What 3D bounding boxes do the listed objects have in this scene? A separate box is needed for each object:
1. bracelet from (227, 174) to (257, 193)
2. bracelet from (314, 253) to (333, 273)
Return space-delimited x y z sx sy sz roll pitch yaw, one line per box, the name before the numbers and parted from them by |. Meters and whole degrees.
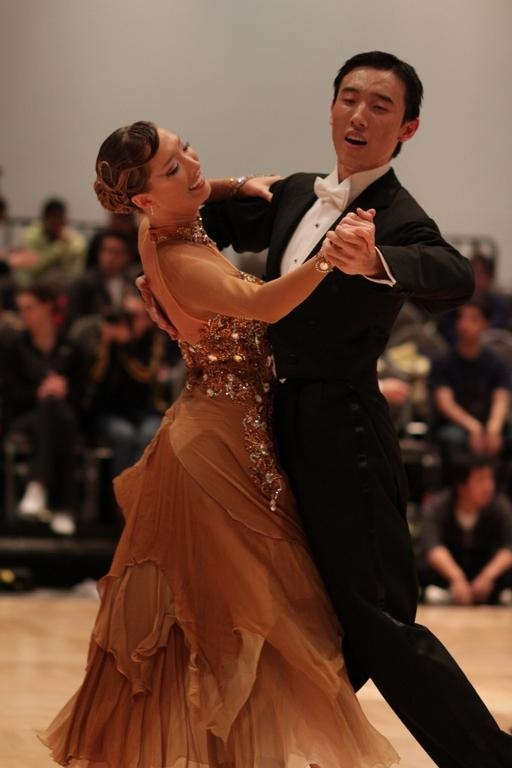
bracelet | -0.047 -0.504 2.001 0.058 0.017 0.058 -1 -16 -15
bracelet | 0.120 -0.215 1.392 0.014 0.035 0.027 -28 -8 -45
